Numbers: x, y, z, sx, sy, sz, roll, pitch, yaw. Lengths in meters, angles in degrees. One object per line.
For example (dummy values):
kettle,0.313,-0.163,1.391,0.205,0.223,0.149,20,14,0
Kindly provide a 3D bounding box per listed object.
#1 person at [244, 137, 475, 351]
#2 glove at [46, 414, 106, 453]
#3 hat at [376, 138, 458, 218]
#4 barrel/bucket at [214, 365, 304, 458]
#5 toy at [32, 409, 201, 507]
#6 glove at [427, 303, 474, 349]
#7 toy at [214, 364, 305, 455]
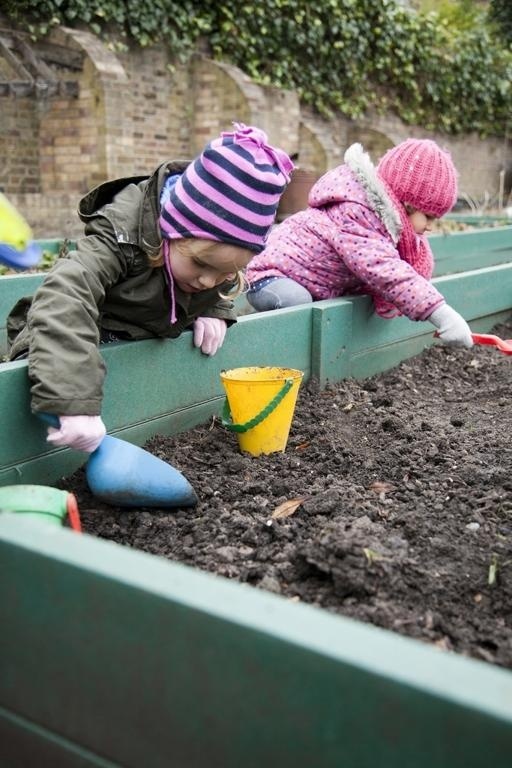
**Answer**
person,0.544,-0.616,3.036,0.988,0.769,0.904,17,15,27
glove,-0.373,0.102,1.493,0.105,0.047,0.072,12,51,8
hat,0.630,-0.814,2.796,0.302,0.303,0.227,2,15,8
barrel/bucket,0.011,0.070,2.062,0.282,0.229,0.253,0,7,-3
toy,-0.290,0.164,1.629,0.335,0.163,0.183,28,-13,1
glove,0.719,-0.211,2.657,0.123,0.194,0.085,-30,17,16
toy,0.013,0.063,2.061,0.275,0.224,0.253,0,7,-2
